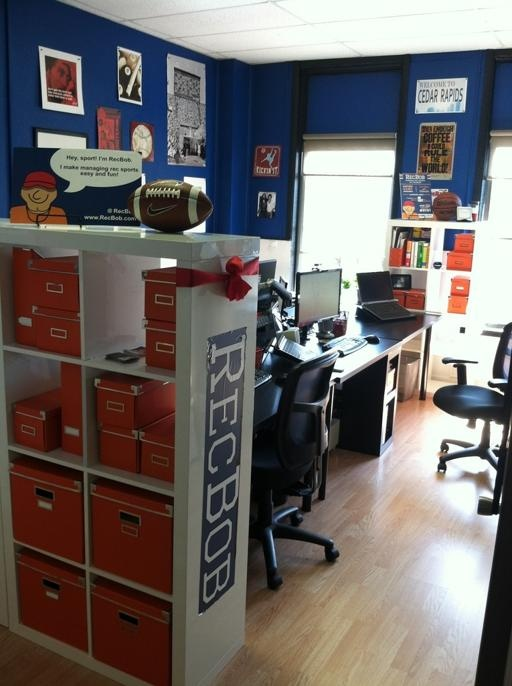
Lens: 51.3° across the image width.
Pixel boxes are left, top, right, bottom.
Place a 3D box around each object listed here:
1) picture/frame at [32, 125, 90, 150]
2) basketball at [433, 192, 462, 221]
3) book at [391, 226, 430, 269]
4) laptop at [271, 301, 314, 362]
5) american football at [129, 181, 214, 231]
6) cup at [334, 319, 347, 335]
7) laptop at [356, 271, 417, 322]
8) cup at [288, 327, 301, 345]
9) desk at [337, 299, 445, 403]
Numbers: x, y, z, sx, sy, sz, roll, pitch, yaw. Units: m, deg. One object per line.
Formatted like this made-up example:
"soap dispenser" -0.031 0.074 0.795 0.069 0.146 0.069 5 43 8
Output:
"picture/frame" -1.561 -1.640 4.321 0.060 0.168 0.557 7 11 28
"basketball" 1.688 -1.219 4.765 0.235 0.273 0.239 6 11 25
"book" 1.479 -0.865 5.040 0.331 0.470 0.471 8 12 25
"laptop" 0.194 -0.014 3.152 0.289 0.362 0.374 2 17 3
"american football" -0.241 -0.398 1.576 0.219 0.131 0.130 6 43 11
"cup" 0.582 -0.115 3.695 0.064 0.121 0.067 -1 21 0
"laptop" 1.078 -0.410 4.426 0.391 0.341 0.330 -8 22 -30
"cup" 0.230 -0.042 3.252 0.057 0.109 0.103 -3 -6 44
"desk" 1.018 0.043 4.047 0.379 0.373 0.751 -25 36 -36
